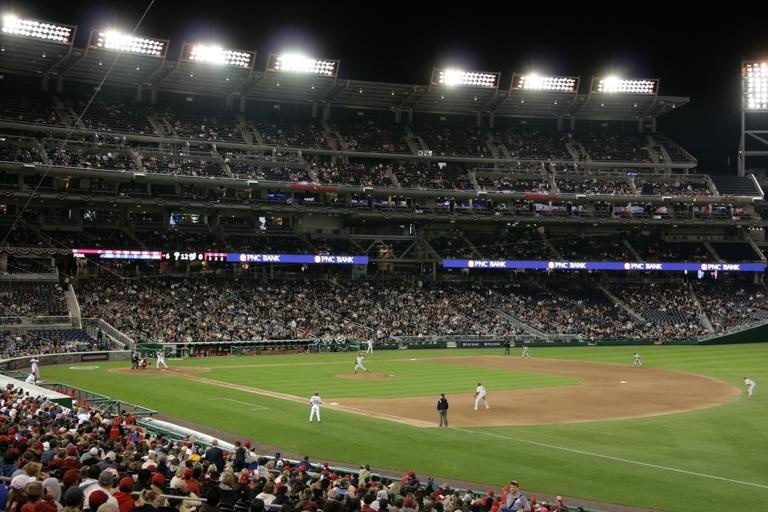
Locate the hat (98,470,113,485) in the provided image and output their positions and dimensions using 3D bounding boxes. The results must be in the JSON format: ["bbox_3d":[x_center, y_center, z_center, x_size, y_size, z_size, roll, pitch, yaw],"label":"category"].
[{"bbox_3d":[-15.591,12.462,54.563,0.736,0.836,0.436,2,-13,-16],"label":"hat"}]

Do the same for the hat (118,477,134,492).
[{"bbox_3d":[-14.470,12.855,54.697,0.749,0.875,0.382,3,-14,-20],"label":"hat"}]

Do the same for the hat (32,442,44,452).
[{"bbox_3d":[-20.577,11.350,57.727,0.649,0.627,0.942,3,-12,-19],"label":"hat"}]

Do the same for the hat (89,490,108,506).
[{"bbox_3d":[-15.799,13.465,53.692,1.119,1.067,0.566,-6,-13,21],"label":"hat"}]

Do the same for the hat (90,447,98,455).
[{"bbox_3d":[-17.248,11.620,57.843,0.501,0.491,0.367,5,-14,-26],"label":"hat"}]

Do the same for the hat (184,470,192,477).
[{"bbox_3d":[-11.476,12.781,57.053,0.278,0.558,0.474,-7,-13,23],"label":"hat"}]

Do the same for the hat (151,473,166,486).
[{"bbox_3d":[-13.055,12.858,55.967,0.602,0.727,1.053,-4,-12,13],"label":"hat"}]

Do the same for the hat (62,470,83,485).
[{"bbox_3d":[-17.599,12.464,54.789,0.825,0.825,0.798,3,-13,-19],"label":"hat"}]
